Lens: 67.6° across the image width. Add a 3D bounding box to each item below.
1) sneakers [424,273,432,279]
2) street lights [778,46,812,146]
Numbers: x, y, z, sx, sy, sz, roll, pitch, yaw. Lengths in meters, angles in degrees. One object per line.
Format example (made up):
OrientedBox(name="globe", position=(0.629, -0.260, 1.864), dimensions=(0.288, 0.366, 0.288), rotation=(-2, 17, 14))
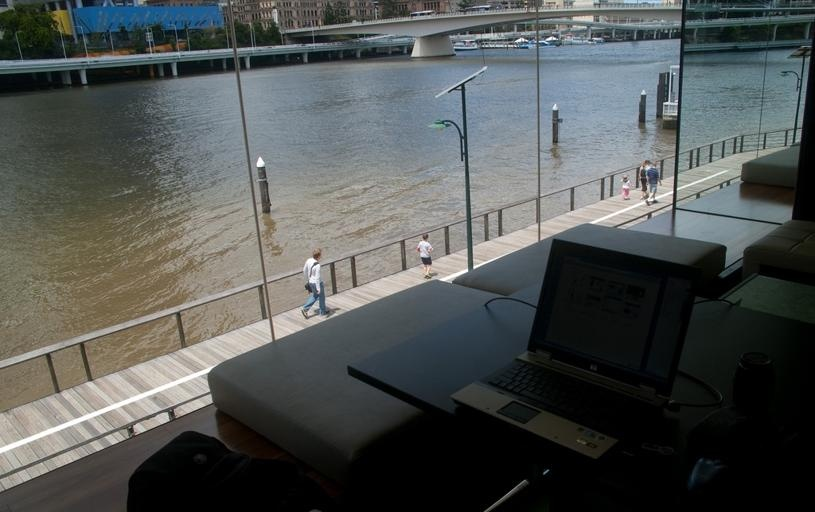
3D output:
OrientedBox(name="sneakers", position=(0.263, 0.249, 7.641), dimensions=(0.138, 0.047, 0.040), rotation=(-14, 19, -33))
OrientedBox(name="street lights", position=(4.207, -1.767, 6.654), dimensions=(0.300, 0.999, 0.469), rotation=(11, 32, 27))
